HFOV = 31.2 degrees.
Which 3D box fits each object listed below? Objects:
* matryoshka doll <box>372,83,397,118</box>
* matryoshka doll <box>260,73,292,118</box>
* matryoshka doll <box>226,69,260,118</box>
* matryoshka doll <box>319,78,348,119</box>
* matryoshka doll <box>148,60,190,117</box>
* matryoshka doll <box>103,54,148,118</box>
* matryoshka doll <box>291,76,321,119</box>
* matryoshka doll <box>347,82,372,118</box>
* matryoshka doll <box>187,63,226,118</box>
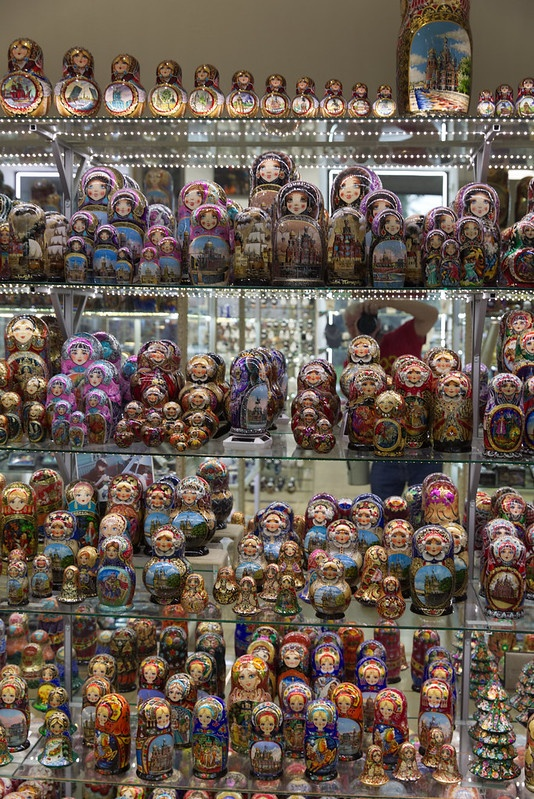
[{"bbox_3d":[0.325,-0.823,2.664,0.064,0.106,0.111,-2,-2,8],"label":"matryoshka doll"},{"bbox_3d":[0.023,-0.847,2.676,0.078,0.139,0.083,-1,-2,5],"label":"matryoshka doll"},{"bbox_3d":[-0.070,-0.863,2.714,0.092,0.157,0.110,-1,-2,6],"label":"matryoshka doll"},{"bbox_3d":[0.184,-0.837,2.672,0.074,0.148,0.152,-1,-2,4],"label":"matryoshka doll"},{"bbox_3d":[-0.281,-0.877,2.730,0.126,0.172,0.120,-2,8,-22],"label":"matryoshka doll"},{"bbox_3d":[-0.410,-0.884,2.748,0.111,0.223,0.204,-1,-2,-8],"label":"matryoshka doll"},{"bbox_3d":[0.106,-0.852,2.701,0.077,0.135,0.090,-1,-2,2],"label":"matryoshka doll"},{"bbox_3d":[0.255,-0.826,2.647,0.063,0.123,0.111,-1,-2,5],"label":"matryoshka doll"},{"bbox_3d":[-0.178,-0.873,2.736,0.116,0.159,0.110,5,7,11],"label":"matryoshka doll"}]
